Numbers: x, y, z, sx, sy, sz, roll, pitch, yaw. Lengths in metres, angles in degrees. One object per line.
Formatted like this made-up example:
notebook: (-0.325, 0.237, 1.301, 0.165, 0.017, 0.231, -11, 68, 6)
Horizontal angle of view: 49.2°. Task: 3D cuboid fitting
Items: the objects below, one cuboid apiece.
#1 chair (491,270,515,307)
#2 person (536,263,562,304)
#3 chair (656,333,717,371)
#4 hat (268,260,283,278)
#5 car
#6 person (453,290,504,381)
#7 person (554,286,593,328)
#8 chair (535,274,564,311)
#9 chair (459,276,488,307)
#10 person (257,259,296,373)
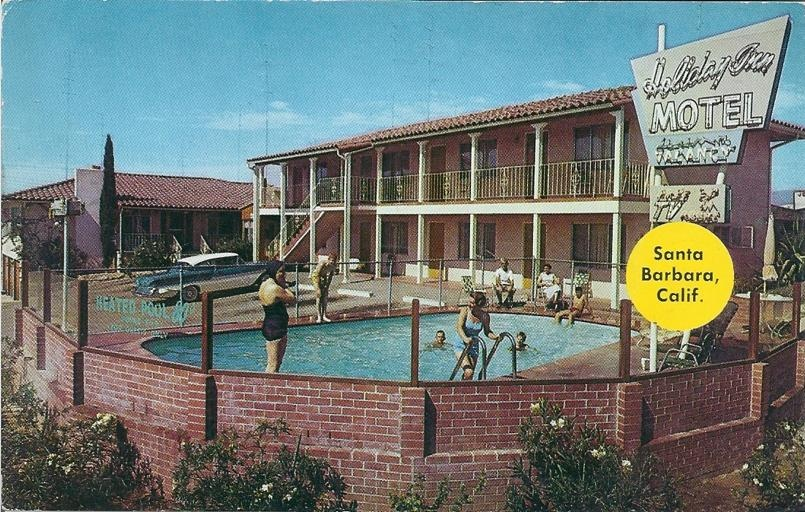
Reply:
chair: (3.169, 0.821, 27.504, 0.615, 1.440, 0.679, 0, 5, -30)
person: (4.565, 0.875, 27.690, 0.663, 1.509, 0.844, 7, -44, -3)
chair: (6.613, 2.192, 20.360, 0.980, 0.789, 1.556, 2, 3, 35)
hat: (-2.808, 0.241, 19.591, 0.278, 0.384, 0.368, 6, -39, 10)
car: (-6.074, 0.703, 26.612, 3.205, 1.190, 7.153, 0, 3, 1)
person: (1.637, 1.789, 19.991, 0.821, 2.029, 1.352, 0, 3, 5)
person: (4.954, 1.426, 25.716, 0.708, 1.008, 1.230, 1, 3, 28)
chair: (4.552, 0.898, 27.065, 0.610, 1.524, 0.762, 4, -18, -16)
chair: (2.177, 1.030, 28.398, 0.884, 1.117, 1.124, 1, 0, 27)
person: (-2.811, 1.346, 19.481, 0.674, 2.482, 0.861, -1, 3, -27)
